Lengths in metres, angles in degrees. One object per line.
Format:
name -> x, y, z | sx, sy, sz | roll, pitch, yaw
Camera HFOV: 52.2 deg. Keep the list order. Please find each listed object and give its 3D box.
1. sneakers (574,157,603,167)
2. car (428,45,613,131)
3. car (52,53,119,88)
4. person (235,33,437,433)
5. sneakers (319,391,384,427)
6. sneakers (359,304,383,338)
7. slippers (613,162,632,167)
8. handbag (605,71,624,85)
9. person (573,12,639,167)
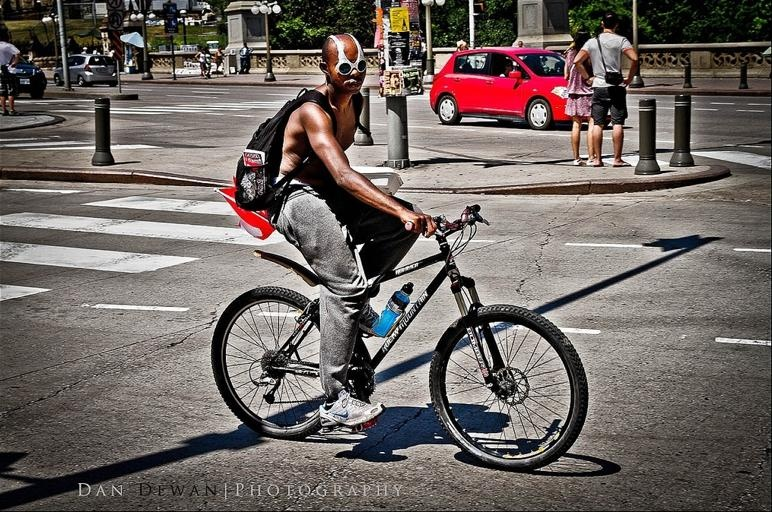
sneakers -> 3.743, -1.749, 14.618 | 0.577, 0.161, 0.178 | 0, 10, 0
car -> 3.447, -4.858, 22.431 | 4.483, 1.424, 2.610 | 4, 8, 40
car -> -18.190, -11.301, 47.950 | 4.300, 1.530, 2.249 | 14, 18, 39
person -> -0.283, -0.132, 4.714 | 1.171, 2.344, 0.409 | 4, 10, 20
sneakers -> -0.182, 0.932, 4.795 | 0.234, 0.213, 0.528 | 1, -13, -43
sneakers -> -0.058, 0.369, 4.839 | 0.110, 0.070, 0.223 | 24, -18, 16
slippers -> 4.280, -1.659, 14.225 | 0.333, 0.093, 0.128 | -3, 9, -11
handbag -> 3.958, -3.033, 13.495 | 0.405, 0.243, 0.197 | -5, 11, -36
person -> 3.830, -2.871, 13.634 | 0.791, 2.635, 1.009 | -2, 10, -16
